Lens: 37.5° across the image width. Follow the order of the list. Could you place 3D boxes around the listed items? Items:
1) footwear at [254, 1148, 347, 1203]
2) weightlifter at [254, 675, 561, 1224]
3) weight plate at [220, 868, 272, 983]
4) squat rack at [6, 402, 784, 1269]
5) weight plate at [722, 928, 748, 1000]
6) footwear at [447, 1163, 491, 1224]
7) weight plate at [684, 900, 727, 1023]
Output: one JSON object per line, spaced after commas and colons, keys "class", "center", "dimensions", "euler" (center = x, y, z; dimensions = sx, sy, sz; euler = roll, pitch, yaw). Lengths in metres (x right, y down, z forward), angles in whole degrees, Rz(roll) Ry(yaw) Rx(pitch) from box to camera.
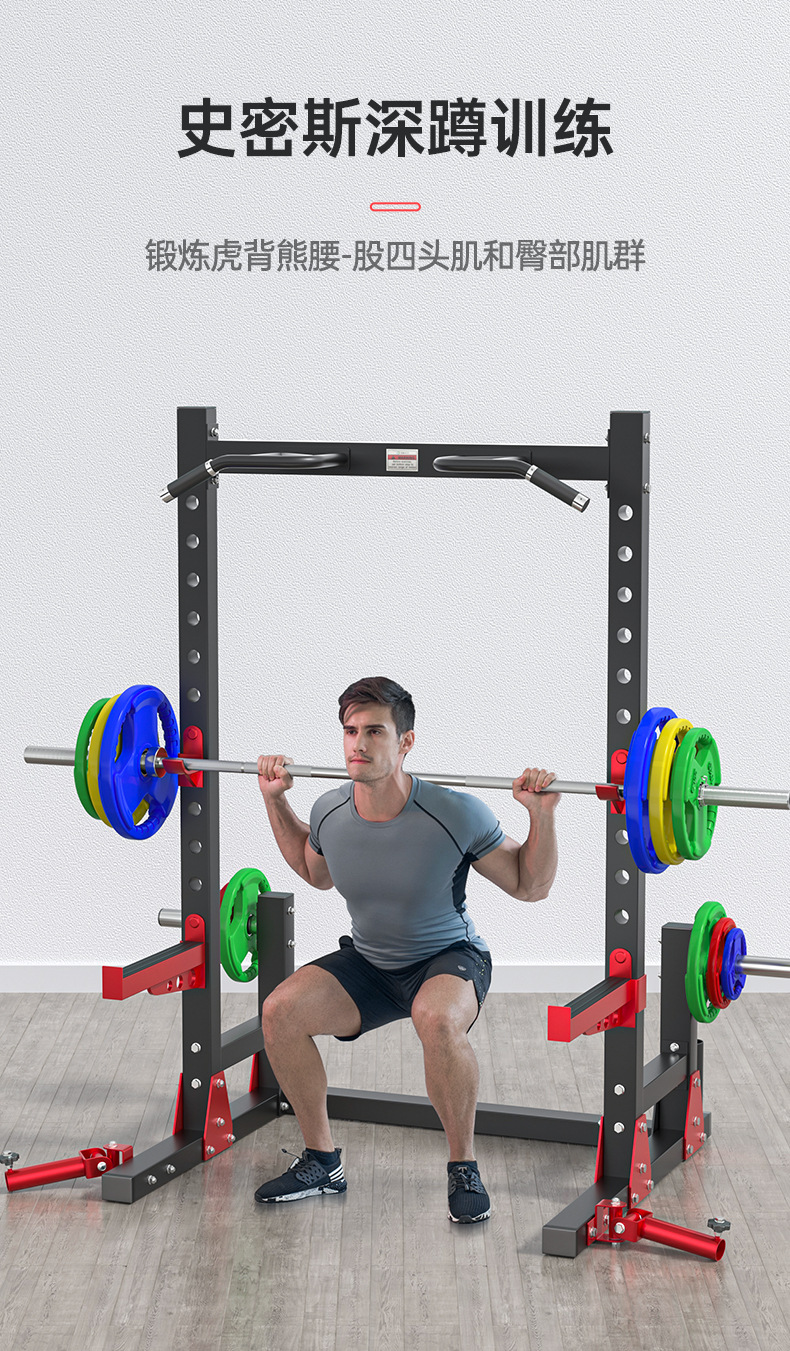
{"class": "footwear", "center": [-0.130, 0.737, 1.743], "dimensions": [0.150, 0.085, 0.054], "euler": [0, -2, -30]}
{"class": "weightlifter", "center": [0.051, 0.485, 2.035], "dimensions": [0.518, 0.971, 0.396], "euler": [-7, -18, 21]}
{"class": "weight plate", "center": [-0.264, 0.453, 2.100], "dimensions": [0.048, 0.204, 0.185], "euler": [0, 3, 18]}
{"class": "squat rack", "center": [0.050, 0.238, 2.266], "dimensions": [1.209, 1.344, 0.732], "euler": [0, 3, 15]}
{"class": "weight plate", "center": [0.518, 0.439, 1.778], "dimensions": [0.029, 0.107, 0.096], "euler": [1, 6, 14]}
{"class": "footwear", "center": [0.103, 0.712, 1.593], "dimensions": [0.035, 0.043, 0.100], "euler": [-3, -10, 2]}
{"class": "weight plate", "center": [0.458, 0.425, 1.735], "dimensions": [0.035, 0.158, 0.141], "euler": [2, -1, 19]}
